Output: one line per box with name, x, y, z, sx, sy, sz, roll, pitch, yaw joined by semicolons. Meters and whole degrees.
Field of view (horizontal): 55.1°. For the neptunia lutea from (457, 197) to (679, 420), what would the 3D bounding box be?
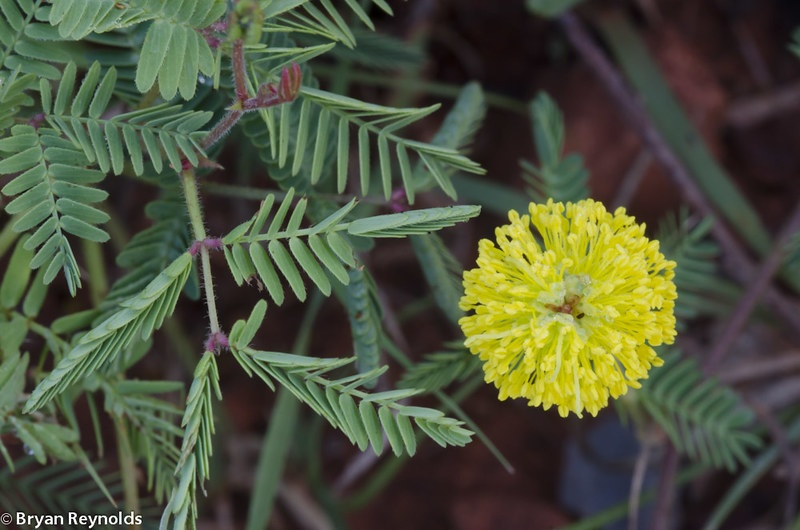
neptunia lutea;0.312;0.085;1.488;0.428;0.428;0.180;-14;-2;-3
